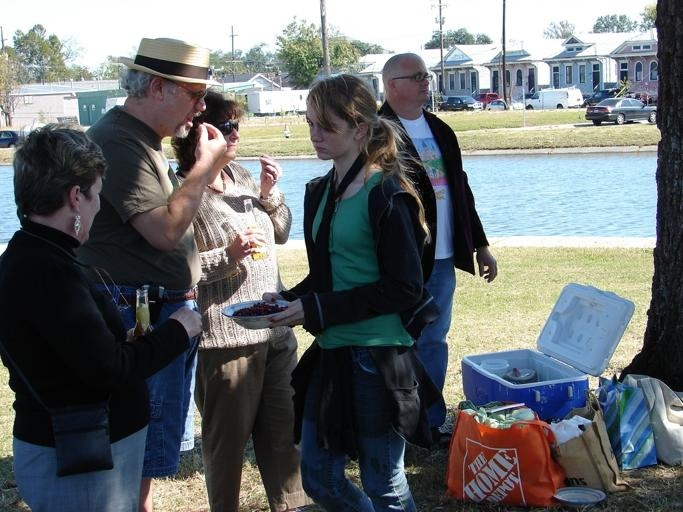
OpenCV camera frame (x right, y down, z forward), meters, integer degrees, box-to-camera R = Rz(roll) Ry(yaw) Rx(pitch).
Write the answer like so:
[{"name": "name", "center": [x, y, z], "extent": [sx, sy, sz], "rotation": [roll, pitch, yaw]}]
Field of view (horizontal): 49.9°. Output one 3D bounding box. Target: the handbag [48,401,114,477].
[{"name": "handbag", "center": [-1.035, 0.721, 2.877], "extent": [0.244, 0.321, 0.064], "rotation": [-8, 1, -30]}]

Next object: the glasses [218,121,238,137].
[{"name": "glasses", "center": [-0.658, -0.747, 4.278], "extent": [0.083, 0.036, 0.084], "rotation": [-34, -5, 16]}]

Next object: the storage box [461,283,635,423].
[{"name": "storage box", "center": [1.443, 0.686, 5.205], "extent": [1.104, 0.924, 1.062], "rotation": [-6, 10, -38]}]

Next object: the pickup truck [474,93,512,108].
[{"name": "pickup truck", "center": [12.465, -13.103, 61.374], "extent": [2.865, 1.555, 1.909], "rotation": [5, 13, 13]}]

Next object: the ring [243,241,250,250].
[{"name": "ring", "center": [-0.520, -0.058, 4.074], "extent": [0.027, 0.030, 0.052], "rotation": [-3, -33, -4]}]

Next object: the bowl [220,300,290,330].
[{"name": "bowl", "center": [-0.401, 0.270, 3.527], "extent": [0.192, 0.063, 0.202], "rotation": [0, 6, 0]}]

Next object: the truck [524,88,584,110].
[{"name": "truck", "center": [16.483, -12.115, 57.048], "extent": [3.757, 2.087, 2.419], "rotation": [8, 17, 29]}]

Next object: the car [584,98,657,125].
[{"name": "car", "center": [13.798, -7.152, 36.351], "extent": [3.115, 1.298, 1.151], "rotation": [-2, 10, -3]}]

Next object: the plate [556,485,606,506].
[{"name": "plate", "center": [1.405, 1.425, 4.315], "extent": [0.313, 0.068, 0.144], "rotation": [-2, 10, -1]}]

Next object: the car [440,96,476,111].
[{"name": "car", "center": [9.583, -12.491, 60.207], "extent": [2.174, 1.177, 1.404], "rotation": [-1, 15, 18]}]

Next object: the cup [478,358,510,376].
[{"name": "cup", "center": [1.110, 0.799, 5.280], "extent": [0.133, 0.075, 0.132], "rotation": [2, 6, 0]}]
